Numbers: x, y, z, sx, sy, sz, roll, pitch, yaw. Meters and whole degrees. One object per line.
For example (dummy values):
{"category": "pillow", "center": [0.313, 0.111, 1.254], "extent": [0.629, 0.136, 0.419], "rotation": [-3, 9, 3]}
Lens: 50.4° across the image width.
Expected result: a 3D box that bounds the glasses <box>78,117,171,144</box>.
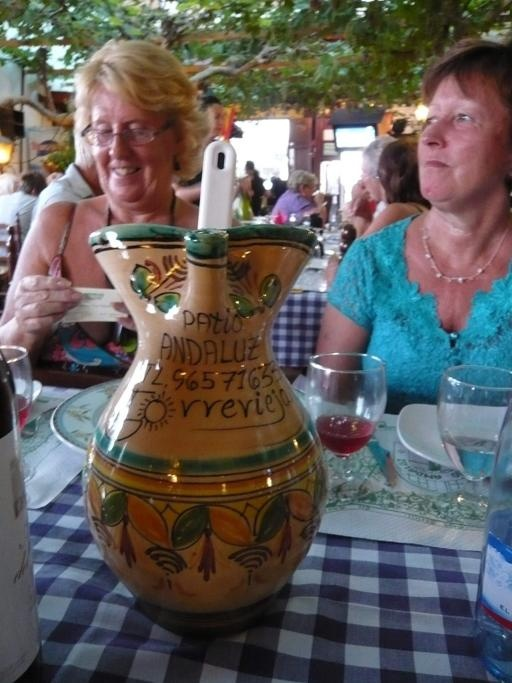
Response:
{"category": "glasses", "center": [-0.336, -0.564, 1.470], "extent": [0.225, 0.070, 0.083], "rotation": [-1, 18, -7]}
